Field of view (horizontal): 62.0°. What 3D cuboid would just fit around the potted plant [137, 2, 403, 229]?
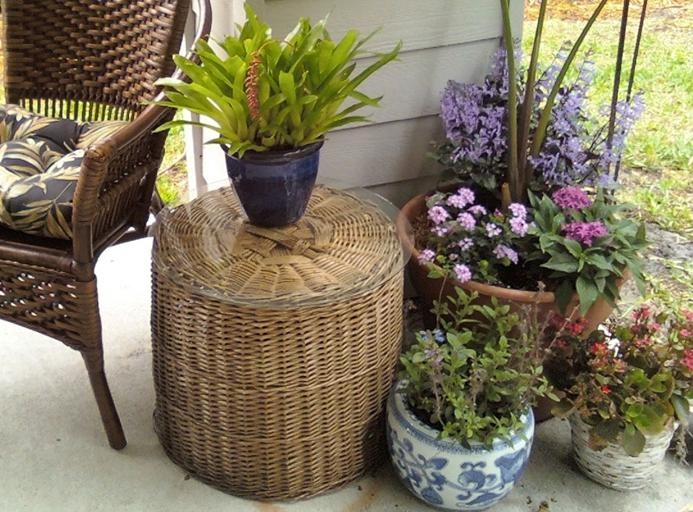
[{"bbox_3d":[-0.230,-0.371,1.557,0.570,0.460,0.567,-19,35,-35],"label":"potted plant"}]

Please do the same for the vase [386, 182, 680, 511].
[{"bbox_3d":[0.422,0.230,1.798,0.799,0.579,0.771,-1,30,2],"label":"vase"}]

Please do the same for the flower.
[{"bbox_3d":[0.392,-0.166,1.909,0.907,0.671,1.015,-1,31,1],"label":"flower"}]

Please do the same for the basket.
[{"bbox_3d":[-0.160,0.225,1.724,0.777,0.677,0.764,7,25,6],"label":"basket"}]
